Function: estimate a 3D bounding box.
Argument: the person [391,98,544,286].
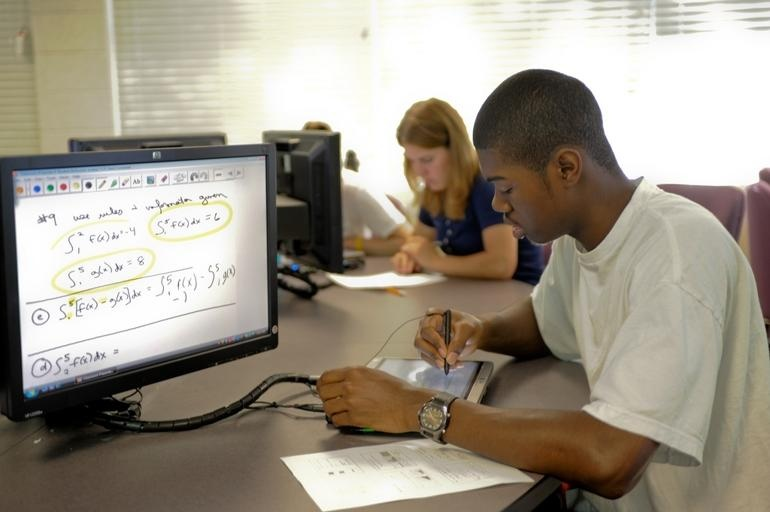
[{"bbox_3d":[0.379,-0.243,2.953,0.655,0.961,0.790,-14,16,-37],"label":"person"}]

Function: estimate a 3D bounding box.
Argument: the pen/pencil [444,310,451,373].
[{"bbox_3d":[0.172,0.230,1.643,0.024,0.155,0.022,-1,-19,15],"label":"pen/pencil"}]

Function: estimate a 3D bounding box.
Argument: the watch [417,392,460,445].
[{"bbox_3d":[0.108,0.352,1.353,0.067,0.096,0.105,8,-2,19],"label":"watch"}]

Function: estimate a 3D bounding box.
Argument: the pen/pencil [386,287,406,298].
[{"bbox_3d":[0.037,0.131,2.243,0.022,0.020,0.104,-6,8,-23],"label":"pen/pencil"}]
